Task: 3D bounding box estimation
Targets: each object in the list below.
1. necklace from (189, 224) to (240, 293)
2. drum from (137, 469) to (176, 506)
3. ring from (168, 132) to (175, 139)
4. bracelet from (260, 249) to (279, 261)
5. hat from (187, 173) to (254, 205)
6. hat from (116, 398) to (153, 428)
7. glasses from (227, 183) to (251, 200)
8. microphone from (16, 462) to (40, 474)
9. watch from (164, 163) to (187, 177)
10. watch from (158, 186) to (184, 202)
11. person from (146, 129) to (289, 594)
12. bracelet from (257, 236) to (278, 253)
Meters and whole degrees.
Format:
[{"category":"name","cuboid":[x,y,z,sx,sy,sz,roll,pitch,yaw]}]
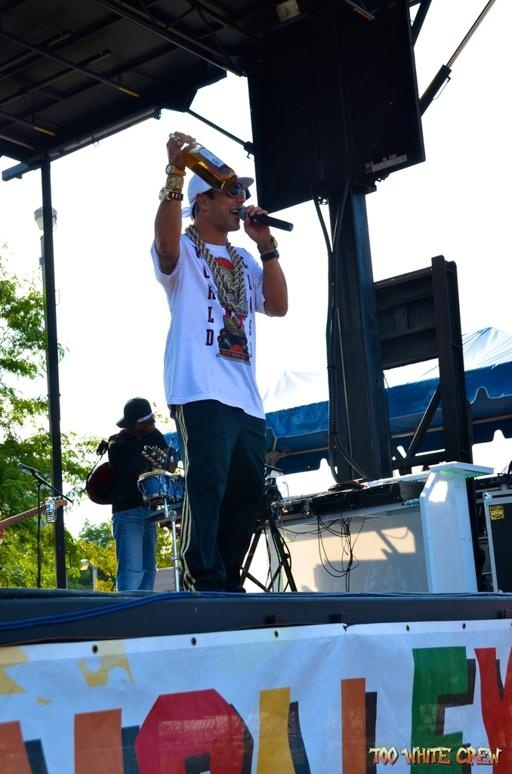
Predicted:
[{"category":"necklace","cuboid":[-0.103,-0.367,2.905,0.049,0.202,0.145,-36,8,-32]},{"category":"drum","cuboid":[-0.433,0.450,4.340,0.152,0.119,0.147,-5,-12,-1]},{"category":"ring","cuboid":[-0.227,-0.684,2.672,0.015,0.024,0.018,0,-9,-32]},{"category":"bracelet","cuboid":[0.044,-0.402,3.011,0.049,0.032,0.048,-7,-4,23]},{"category":"hat","cuboid":[-0.105,-0.601,2.961,0.161,0.095,0.101,-33,8,18]},{"category":"hat","cuboid":[-0.606,0.132,5.021,0.180,0.104,0.117,-20,6,24]},{"category":"glasses","cuboid":[-0.049,-0.585,2.904,0.056,0.057,0.018,-9,-33,-48]},{"category":"microphone","cuboid":[-1.890,0.673,8.073,0.167,0.119,0.494,-9,-2,-17]},{"category":"watch","cuboid":[-0.221,-0.583,2.703,0.048,0.032,0.051,7,6,-26]},{"category":"watch","cuboid":[-0.229,-0.514,2.635,0.053,0.031,0.043,2,3,12]},{"category":"person","cuboid":[-0.110,-0.053,2.770,0.274,1.256,0.649,-7,-7,17]},{"category":"bracelet","cuboid":[0.039,-0.431,3.004,0.041,0.031,0.055,-19,-2,-18]}]
